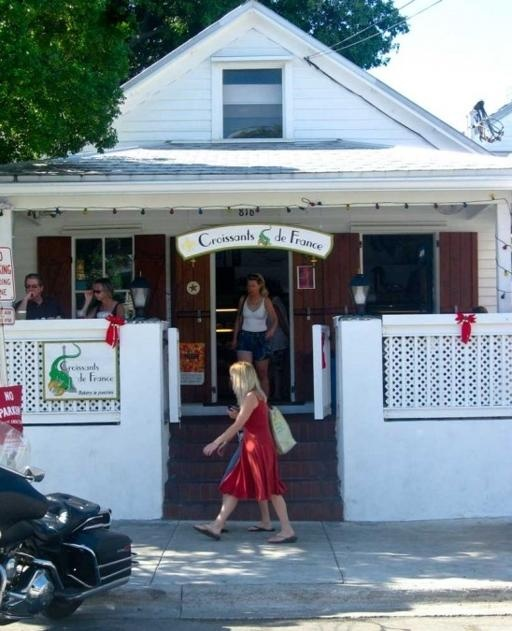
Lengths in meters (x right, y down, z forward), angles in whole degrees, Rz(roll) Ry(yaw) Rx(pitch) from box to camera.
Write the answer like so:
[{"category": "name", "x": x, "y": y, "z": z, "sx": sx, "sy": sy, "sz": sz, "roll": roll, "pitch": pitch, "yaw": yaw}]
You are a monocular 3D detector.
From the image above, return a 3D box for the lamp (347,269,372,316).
[{"category": "lamp", "x": 1.131, "y": -0.171, "z": 13.353, "sx": 0.273, "sy": 0.440, "sz": 0.271, "roll": -1, "pitch": -14, "yaw": -32}]

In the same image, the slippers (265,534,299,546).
[{"category": "slippers", "x": 0.255, "y": 2.176, "z": 11.886, "sx": 0.235, "sy": 0.064, "sz": 0.101, "roll": 1, "pitch": -3, "yaw": -7}]

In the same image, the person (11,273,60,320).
[{"category": "person", "x": -2.455, "y": -0.184, "z": 14.078, "sx": 0.536, "sy": 0.523, "sz": 1.027, "roll": 0, "pitch": -1, "yaw": -9}]

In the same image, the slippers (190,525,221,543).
[{"category": "slippers", "x": -0.491, "y": 2.118, "z": 11.917, "sx": 0.318, "sy": 0.113, "sz": 0.114, "roll": 29, "pitch": -14, "yaw": -18}]
